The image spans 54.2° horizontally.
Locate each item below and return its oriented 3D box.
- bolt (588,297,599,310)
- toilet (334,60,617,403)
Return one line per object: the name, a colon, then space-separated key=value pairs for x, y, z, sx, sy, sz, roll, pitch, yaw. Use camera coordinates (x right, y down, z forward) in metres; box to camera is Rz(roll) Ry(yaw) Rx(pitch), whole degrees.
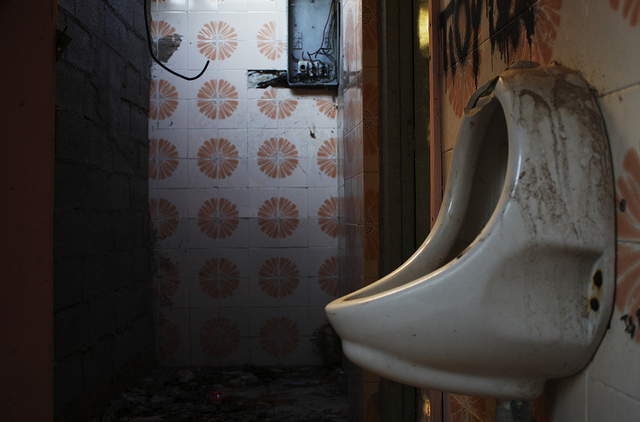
bolt: x=0.730 y=0.253 z=1.674 sx=0.006 sy=0.028 sz=0.025 roll=8 pitch=20 yaw=-24
toilet: x=0.439 y=0.083 z=2.000 sx=0.711 sy=1.057 sz=0.731 roll=0 pitch=-4 yaw=9
